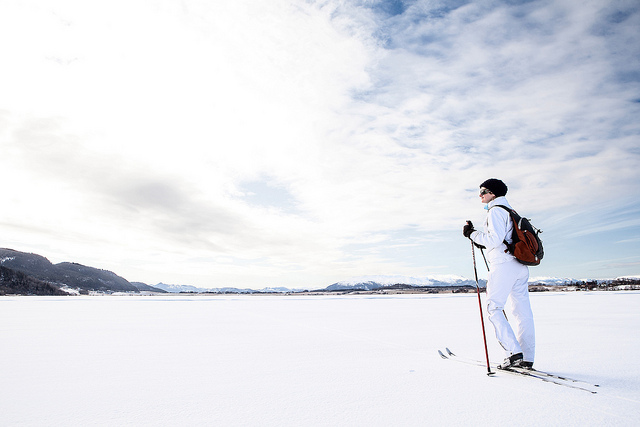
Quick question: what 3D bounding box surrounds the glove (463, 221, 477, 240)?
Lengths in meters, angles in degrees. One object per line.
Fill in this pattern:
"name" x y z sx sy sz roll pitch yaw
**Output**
"glove" 2.764 0.304 7.509 0.200 0.360 0.176 20 -24 -40
